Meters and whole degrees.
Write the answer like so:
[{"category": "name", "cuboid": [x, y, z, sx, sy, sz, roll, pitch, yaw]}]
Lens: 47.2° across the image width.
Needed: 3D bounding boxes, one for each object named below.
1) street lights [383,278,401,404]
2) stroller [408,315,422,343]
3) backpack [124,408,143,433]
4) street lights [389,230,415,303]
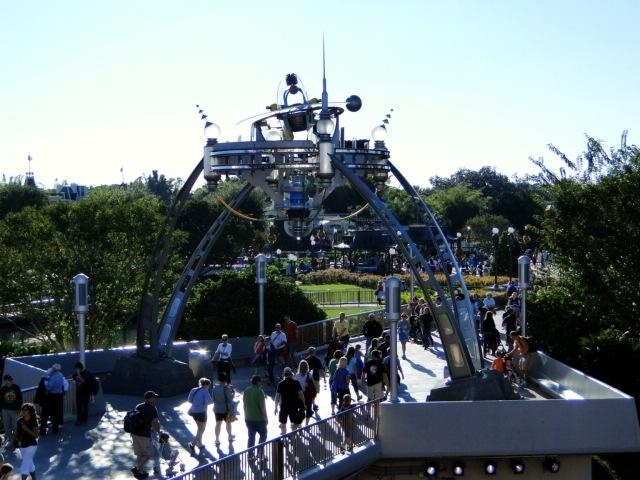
[{"category": "street lights", "cuboid": [2.081, 2.786, 20.771, 0.518, 3.477, 0.356, -1, -1, 16]}, {"category": "stroller", "cuboid": [4.188, 3.905, 32.402, 0.725, 1.107, 1.073, 1, -9, -5]}, {"category": "backpack", "cuboid": [-4.855, 4.654, 18.928, 0.578, 0.615, 0.178, -6, -7, 35]}, {"category": "street lights", "cuboid": [4.119, 1.417, 37.178, 0.668, 4.277, 0.818, -2, 2, -37]}]
